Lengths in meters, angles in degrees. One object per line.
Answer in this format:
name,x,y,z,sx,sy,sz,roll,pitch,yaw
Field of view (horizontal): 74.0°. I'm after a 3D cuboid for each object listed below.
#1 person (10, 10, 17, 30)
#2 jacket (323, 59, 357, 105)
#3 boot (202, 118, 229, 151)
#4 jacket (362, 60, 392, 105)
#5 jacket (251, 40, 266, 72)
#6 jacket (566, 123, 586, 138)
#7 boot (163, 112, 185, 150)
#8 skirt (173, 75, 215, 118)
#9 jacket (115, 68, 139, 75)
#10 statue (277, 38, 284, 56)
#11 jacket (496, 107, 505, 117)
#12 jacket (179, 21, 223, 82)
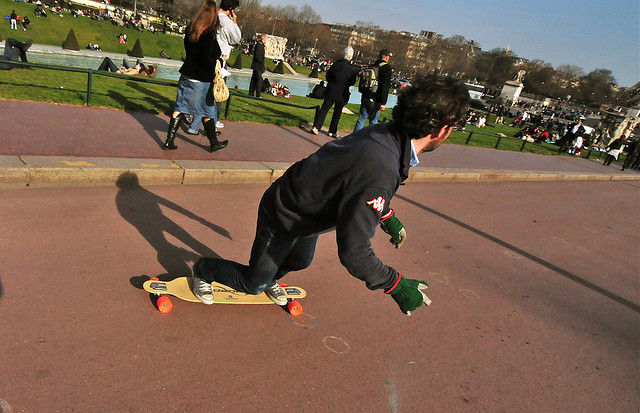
person,-20.496,-12.503,28.512,0.351,1.104,1.258,-1,24,-35
jacket,0.525,-3.297,11.097,0.770,1.098,0.508,12,20,-3
boot,-1.937,-1.334,7.903,0.463,0.633,0.234,-8,29,-45
jacket,1.371,-3.263,10.910,0.559,1.032,1.024,-2,22,-42
jacket,-2.029,-5.120,14.352,0.424,0.991,0.646,9,20,-12
jacket,13.065,-3.955,21.784,0.736,0.631,2.156,22,21,23
boot,-2.598,-1.375,7.586,0.224,0.708,0.364,18,20,12
skirt,-2.173,-1.942,7.471,0.601,0.703,0.391,23,26,-37
jacket,-7.269,-5.154,16.199,0.501,0.145,1.367,8,20,-16
statue,-9.303,-37.409,99.335,1.156,3.848,2.548,13,20,-1
jacket,13.492,-7.142,31.647,0.402,0.681,1.700,20,20,16
jacket,-2.045,-2.653,7.313,0.608,0.901,0.430,9,20,-12
